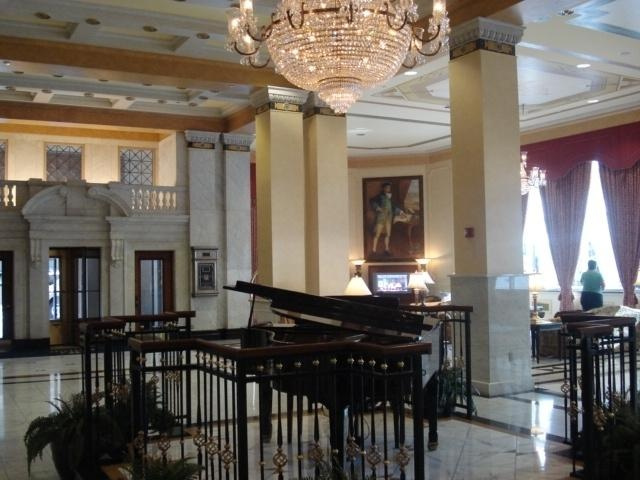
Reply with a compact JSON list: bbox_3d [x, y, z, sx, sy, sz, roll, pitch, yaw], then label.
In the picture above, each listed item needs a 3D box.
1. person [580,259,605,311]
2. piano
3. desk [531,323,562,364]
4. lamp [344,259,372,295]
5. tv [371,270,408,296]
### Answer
[{"bbox_3d":[5.976,1.008,13.201,0.439,1.093,0.743,-4,-6,30],"label":"person"},{"bbox_3d":[0.189,0.926,6.752,2.450,2.180,1.903,1,1,42],"label":"piano"},{"bbox_3d":[4.596,2.066,12.184,0.551,0.800,1.072,-3,-6,19],"label":"desk"},{"bbox_3d":[0.822,0.747,12.365,0.749,0.836,0.832,0,-9,4],"label":"lamp"},{"bbox_3d":[2.245,1.348,18.915,1.192,0.840,0.650,-1,0,7],"label":"tv"}]
